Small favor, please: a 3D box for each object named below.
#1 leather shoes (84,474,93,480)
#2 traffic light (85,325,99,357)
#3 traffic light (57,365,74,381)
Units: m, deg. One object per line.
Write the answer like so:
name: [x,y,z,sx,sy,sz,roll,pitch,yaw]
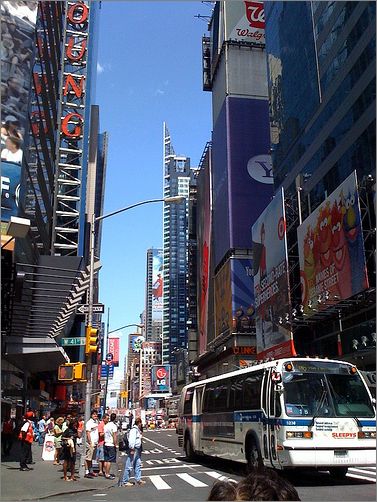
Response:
leather shoes: [-4.024,8.979,17.572,0.450,0.194,0.157,-4,-12,31]
traffic light: [-4.125,3.744,18.660,0.542,1.179,1.243,6,-22,-12]
traffic light: [-5.017,4.952,18.015,0.620,0.642,0.443,7,-22,-15]
